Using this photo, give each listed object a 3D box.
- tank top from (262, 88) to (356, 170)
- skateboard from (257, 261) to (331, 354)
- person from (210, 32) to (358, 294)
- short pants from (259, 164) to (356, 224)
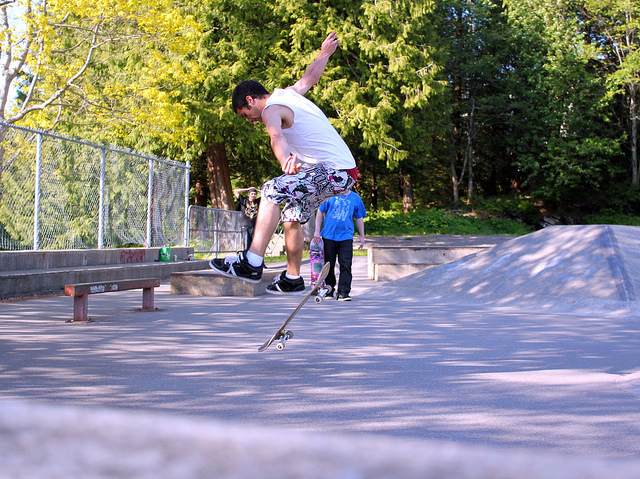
[{"bbox_3d":[-0.086,-1.176,8.814,0.840,0.954,0.741,5,5,6],"label":"tank top"},{"bbox_3d":[-0.332,0.938,10.743,0.185,1.205,0.291,43,-5,7],"label":"skateboard"},{"bbox_3d":[-0.321,-0.917,9.076,1.139,3.055,1.235,-2,-3,39],"label":"person"},{"bbox_3d":[-0.128,-0.507,8.919,1.039,0.637,0.416,1,-2,-28],"label":"short pants"}]
